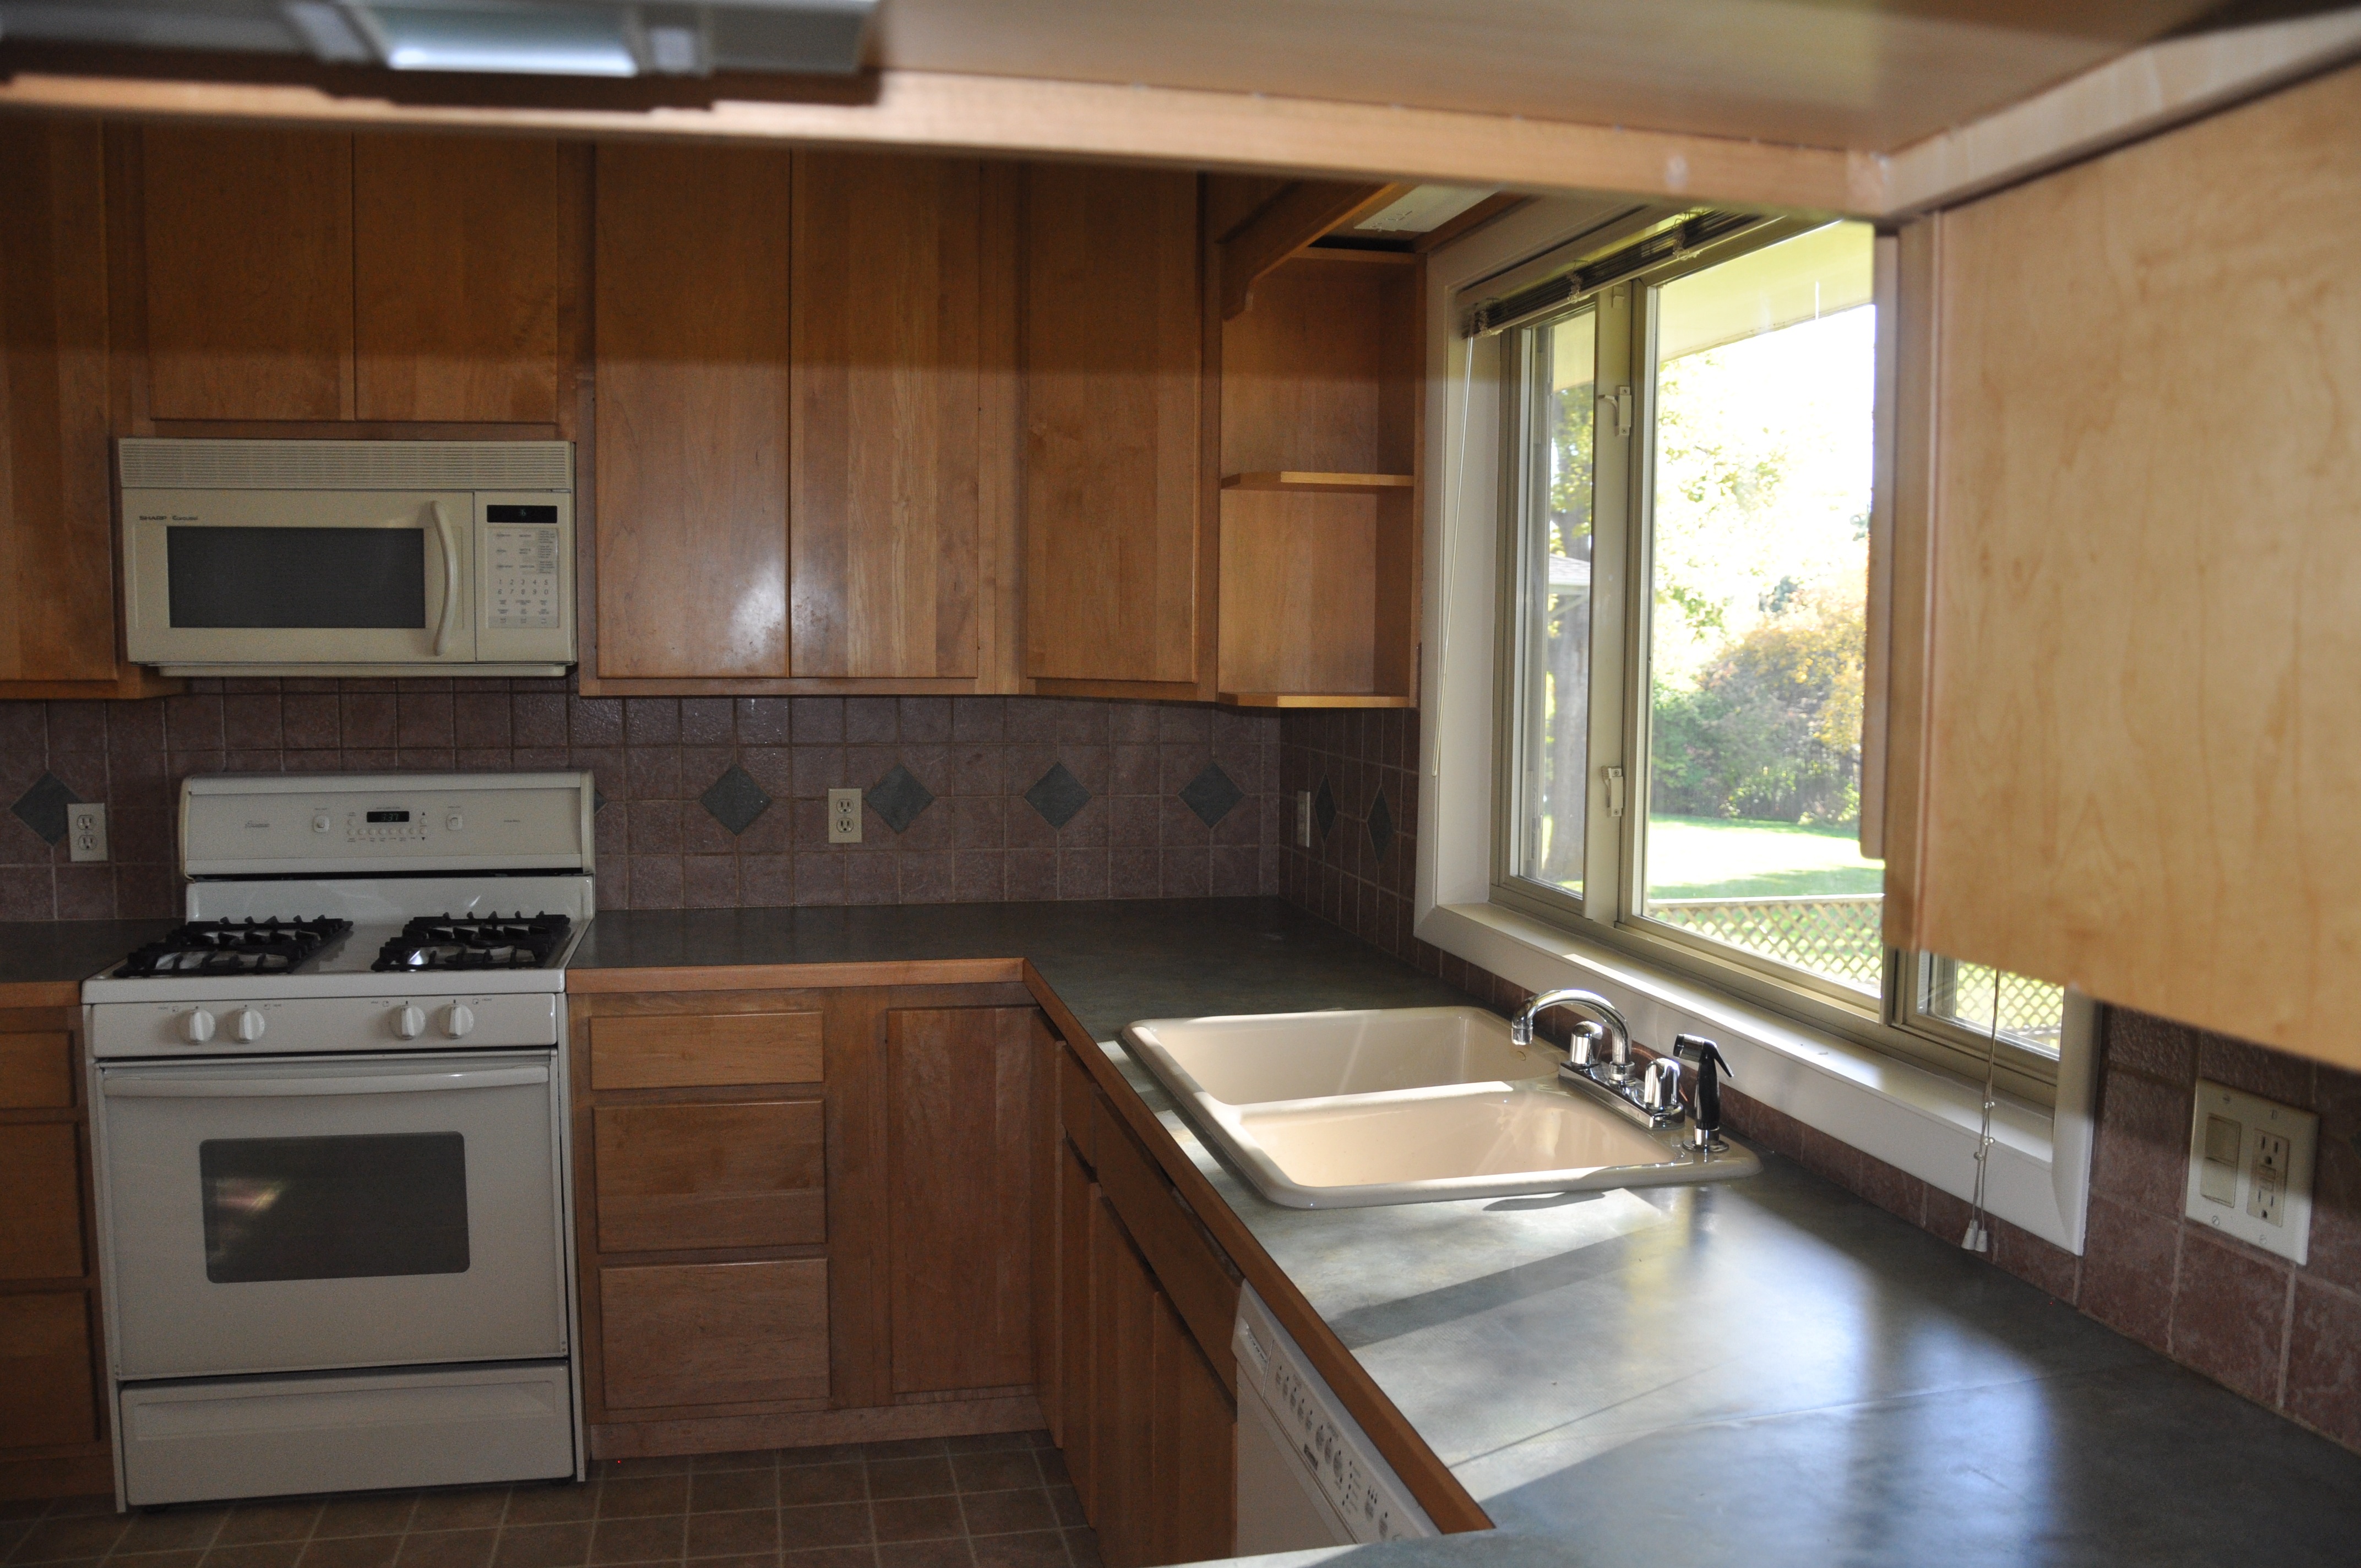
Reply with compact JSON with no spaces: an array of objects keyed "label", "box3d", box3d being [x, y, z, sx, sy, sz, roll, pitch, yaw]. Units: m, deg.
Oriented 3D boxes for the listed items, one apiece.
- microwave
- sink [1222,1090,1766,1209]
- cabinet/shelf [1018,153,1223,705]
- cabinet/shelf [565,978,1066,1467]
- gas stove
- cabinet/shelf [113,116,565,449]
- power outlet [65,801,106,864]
[{"label":"microwave","box3d":[-1.668,-0.453,3.370,0.815,0.481,0.496,-1,2,-12]},{"label":"sink","box3d":[0.394,0.513,2.450,0.332,0.111,0.283,1,1,-17]},{"label":"cabinet/shelf","box3d":[-0.139,-0.720,3.491,0.493,1.064,0.158,6,11,27]},{"label":"cabinet/shelf","box3d":[-0.766,0.835,3.369,1.041,0.901,0.325,-1,4,-8]},{"label":"gas stove","box3d":[-1.645,0.353,3.350,0.849,0.241,0.519,-1,10,-12]},{"label":"cabinet/shelf","box3d":[-1.651,-0.954,3.218,0.890,0.759,0.304,1,1,-10]},{"label":"power outlet","box3d":[-2.396,0.106,3.693,0.083,0.127,0.015,-1,10,-10]}]
